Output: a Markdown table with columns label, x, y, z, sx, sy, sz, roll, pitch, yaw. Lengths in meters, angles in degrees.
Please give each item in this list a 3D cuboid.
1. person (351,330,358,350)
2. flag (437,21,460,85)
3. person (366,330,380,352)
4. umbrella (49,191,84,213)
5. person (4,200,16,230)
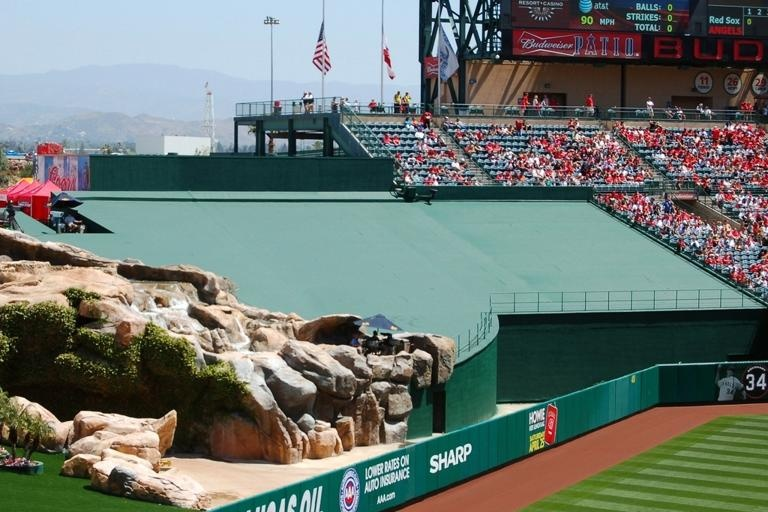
| label | x | y | z | sx | sy | sz | roll | pitch | yaw |
| --- | --- | --- | --- | --- | --- | --- | --- | --- | --- |
| person | -1.531 | 4.317 | 89.819 | 0.305 | 1.002 | 0.427 | -16 | -24 | 5 |
| flag | 3.897 | -12.747 | 109.102 | 1.223 | 3.358 | 3.109 | 0 | 3 | 2 |
| person | -0.596 | 4.313 | 88.879 | 0.687 | 1.118 | 0.797 | 0 | 3 | 0 |
| umbrella | -17.276 | -2.959 | 94.626 | 1.600 | 1.055 | 1.770 | -1 | 3 | -11 |
| person | -19.966 | -2.206 | 93.337 | 0.614 | 1.422 | 2.192 | -1 | 3 | -12 |
